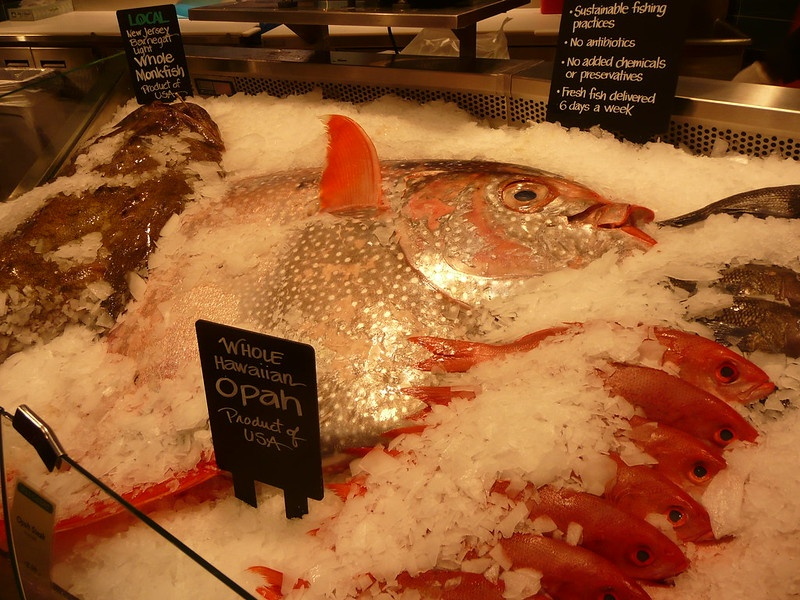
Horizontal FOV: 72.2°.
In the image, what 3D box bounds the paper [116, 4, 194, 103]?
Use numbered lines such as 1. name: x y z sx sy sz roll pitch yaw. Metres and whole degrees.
1. paper: -0.862 -0.866 1.932 0.207 0.323 0.130 -8 39 -10
